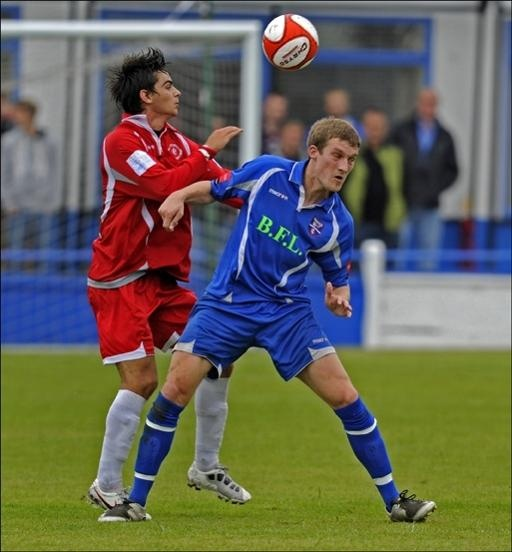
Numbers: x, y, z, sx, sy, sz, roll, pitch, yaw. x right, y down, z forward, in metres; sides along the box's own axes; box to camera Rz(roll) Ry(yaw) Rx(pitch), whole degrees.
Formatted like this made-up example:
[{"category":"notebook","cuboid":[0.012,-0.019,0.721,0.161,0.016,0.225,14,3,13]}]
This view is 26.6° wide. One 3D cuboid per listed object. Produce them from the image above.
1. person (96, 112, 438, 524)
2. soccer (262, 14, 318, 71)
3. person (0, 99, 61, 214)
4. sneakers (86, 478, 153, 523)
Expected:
[{"category":"person","cuboid":[0.081,0.200,5.403,1.449,1.981,0.392,0,3,-3]},{"category":"soccer","cuboid":[0.193,-1.333,6.130,0.302,0.319,0.225,1,3,1]},{"category":"person","cuboid":[-2.733,-1.414,13.094,0.402,1.289,0.859,2,3,22]},{"category":"sneakers","cuboid":[-0.697,1.121,5.330,0.372,0.147,0.136,15,22,16]}]
